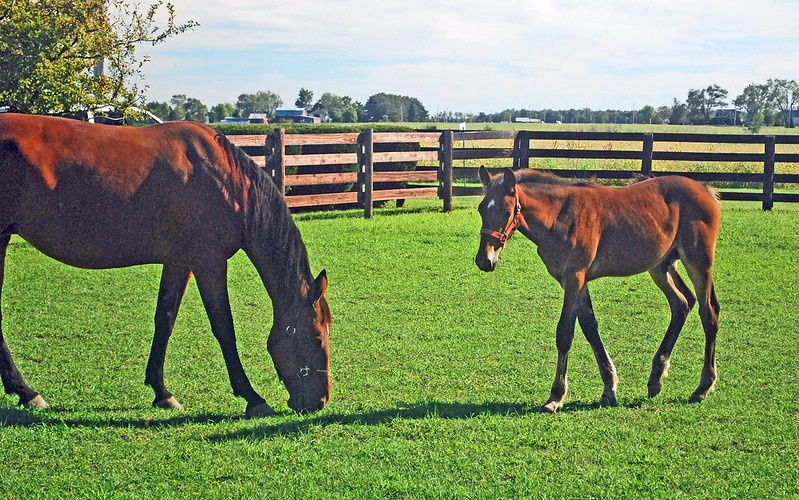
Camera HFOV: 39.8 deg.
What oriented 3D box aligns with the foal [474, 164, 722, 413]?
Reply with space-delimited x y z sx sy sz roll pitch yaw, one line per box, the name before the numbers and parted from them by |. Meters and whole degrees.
foal | 2.775 0.516 15.566 4.150 3.286 1.114 1 -3 -26
